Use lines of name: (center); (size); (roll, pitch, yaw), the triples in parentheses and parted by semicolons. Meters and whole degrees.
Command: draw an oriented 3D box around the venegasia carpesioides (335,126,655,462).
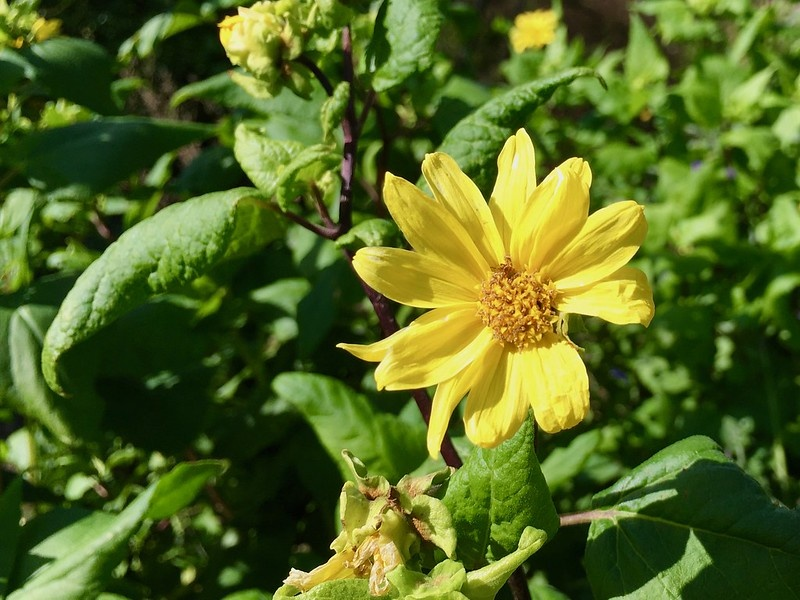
venegasia carpesioides: (0.151, 0.004, 1.118); (0.398, 0.464, 0.211); (-15, -53, 8)
